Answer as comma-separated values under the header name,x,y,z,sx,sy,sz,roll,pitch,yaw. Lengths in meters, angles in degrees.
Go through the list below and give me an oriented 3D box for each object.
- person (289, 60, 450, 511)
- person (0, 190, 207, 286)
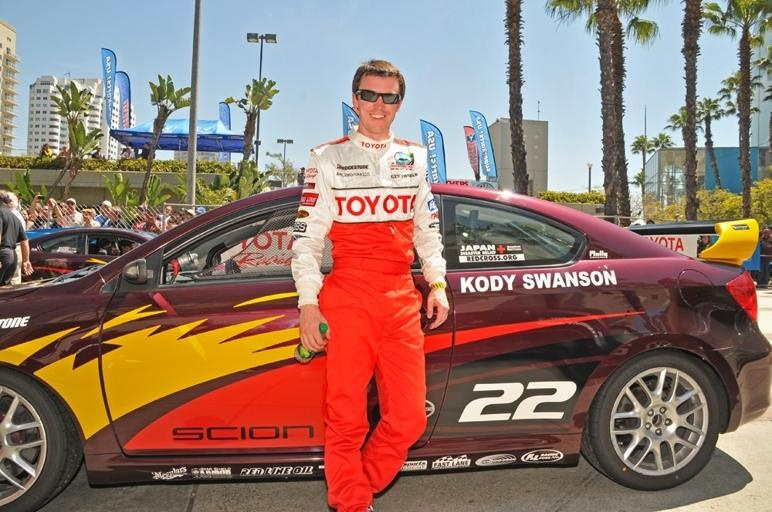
name,x,y,z,sx,sy,sz,roll,pitch,yaw
person,-0.081,0.177,3.779,0.925,2.631,0.591,-3,10,-12
person,-3.724,-0.117,9.161,3.340,1.012,1.453,-4,3,0
